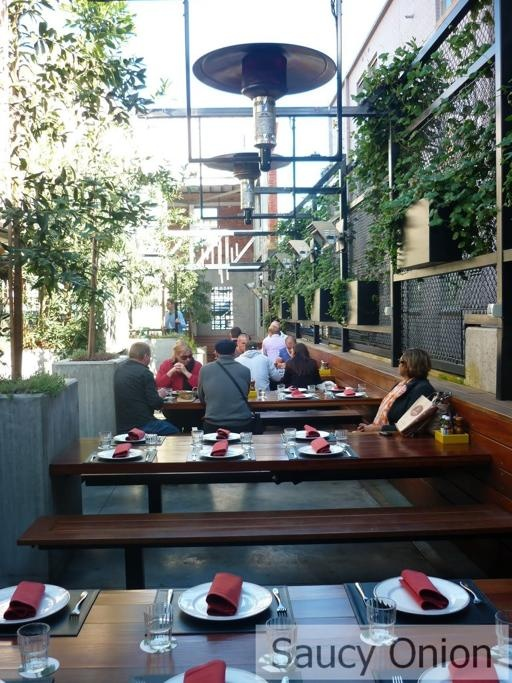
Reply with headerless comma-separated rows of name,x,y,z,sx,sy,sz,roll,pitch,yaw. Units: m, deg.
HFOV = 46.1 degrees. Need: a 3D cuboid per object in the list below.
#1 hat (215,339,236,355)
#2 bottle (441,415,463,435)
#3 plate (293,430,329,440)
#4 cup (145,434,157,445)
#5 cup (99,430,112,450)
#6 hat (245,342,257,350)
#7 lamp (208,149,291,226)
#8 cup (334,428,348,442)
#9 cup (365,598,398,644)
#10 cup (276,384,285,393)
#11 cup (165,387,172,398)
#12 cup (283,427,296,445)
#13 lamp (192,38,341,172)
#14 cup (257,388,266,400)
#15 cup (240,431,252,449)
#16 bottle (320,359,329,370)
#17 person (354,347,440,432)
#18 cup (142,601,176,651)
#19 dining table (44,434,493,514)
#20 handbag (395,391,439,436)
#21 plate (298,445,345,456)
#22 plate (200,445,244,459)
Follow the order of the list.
hat,-0.262,0.050,5.225,0.125,0.132,0.153,-1,-5,-4
bottle,1.283,0.552,3.947,0.142,0.140,0.095,3,-1,-10
plate,0.377,0.652,4.212,0.153,0.031,0.151,0,-1,44
cup,-0.741,0.686,4.218,0.066,0.061,0.066,1,-3,0
cup,-1.055,0.677,4.111,0.122,0.136,0.126,1,-7,0
hat,-0.072,0.068,7.739,0.095,0.130,0.130,-9,25,-16
lamp,-0.116,-1.684,6.637,0.686,0.494,0.678,-1,1,-3
cup,0.580,0.638,4.072,0.070,0.071,0.075,1,-7,0
cup,0.323,0.744,1.638,0.113,0.105,0.103,-1,-5,0
cup,0.303,0.580,7.517,0.079,0.085,0.073,2,-1,0
cup,-0.958,0.555,6.568,0.082,0.080,0.076,-2,-8,0
cup,0.227,0.657,4.188,0.082,0.089,0.079,3,-4,0
lamp,0.067,-1.688,4.435,1.100,0.867,1.087,1,8,13
cup,0.066,0.597,6.768,0.092,0.122,0.089,0,-8,0
cup,-0.078,0.655,3.941,0.082,0.092,0.081,-1,-3,0
bottle,1.019,0.343,8.976,0.104,0.150,0.104,1,-3,0
person,1.115,0.388,4.767,0.617,0.775,0.665,1,5,12
cup,-0.274,0.805,1.679,0.122,0.113,0.116,0,-1,0
dining table,0.031,0.947,3.993,2.756,0.585,0.799,-2,3,2
handbag,1.131,0.510,4.234,0.281,0.283,0.247,-1,3,13
plate,0.413,0.682,3.812,0.299,0.032,0.288,-2,3,2
plate,-0.222,0.683,3.839,0.277,0.055,0.376,-2,3,-5
